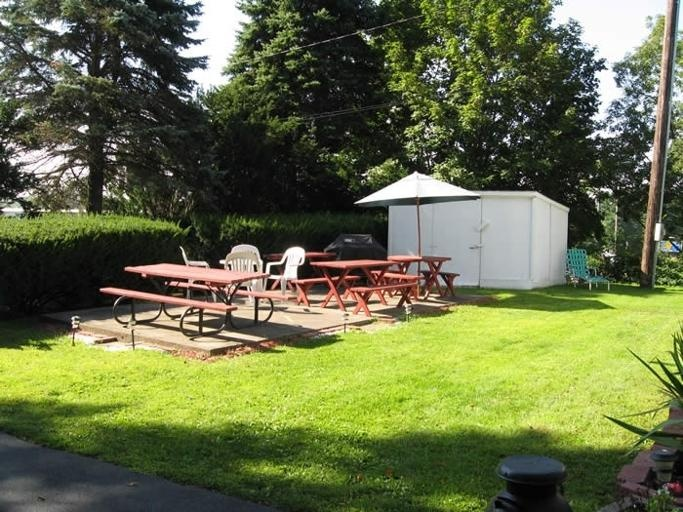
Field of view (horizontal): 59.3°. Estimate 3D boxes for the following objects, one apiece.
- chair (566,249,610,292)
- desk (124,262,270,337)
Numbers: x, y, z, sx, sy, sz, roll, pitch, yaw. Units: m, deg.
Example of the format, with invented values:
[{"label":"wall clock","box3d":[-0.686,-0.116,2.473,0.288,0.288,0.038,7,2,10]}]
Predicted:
[{"label":"chair","box3d":[8.216,0.409,20.014,1.051,1.479,1.861,-2,5,-17]},{"label":"desk","box3d":[-2.668,0.524,11.173,1.929,1.073,3.843,-4,12,-22]}]
